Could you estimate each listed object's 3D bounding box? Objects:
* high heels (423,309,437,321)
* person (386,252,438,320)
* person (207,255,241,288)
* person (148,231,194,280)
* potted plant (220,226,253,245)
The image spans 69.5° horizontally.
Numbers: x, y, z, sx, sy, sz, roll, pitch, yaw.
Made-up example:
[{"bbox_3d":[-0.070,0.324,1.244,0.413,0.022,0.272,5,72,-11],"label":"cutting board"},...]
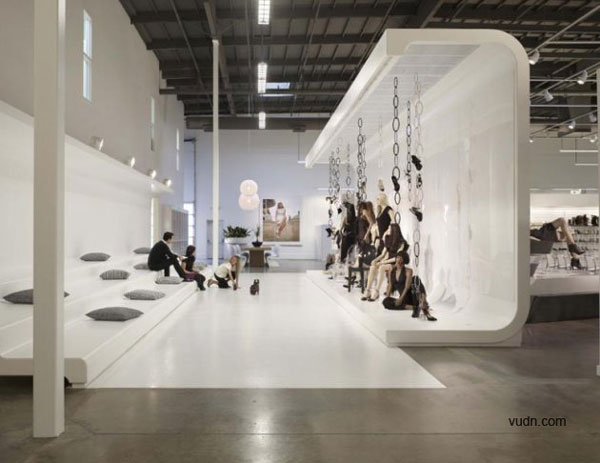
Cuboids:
[{"bbox_3d":[1.779,1.130,5.930,0.175,0.111,0.276,1,3,10],"label":"high heels"},{"bbox_3d":[1.581,0.725,6.273,0.578,0.857,0.779,-4,7,-45],"label":"person"},{"bbox_3d":[-1.608,0.877,9.851,0.476,0.789,0.854,-2,4,-40],"label":"person"},{"bbox_3d":[-2.761,0.506,9.067,0.708,1.099,0.461,-3,20,-20],"label":"person"},{"bbox_3d":[-2.764,0.167,18.667,0.817,1.224,1.092,-2,-3,19],"label":"potted plant"}]
